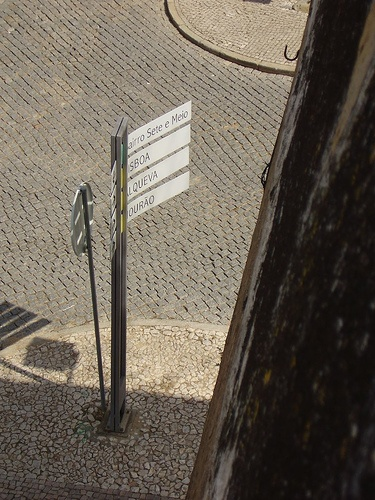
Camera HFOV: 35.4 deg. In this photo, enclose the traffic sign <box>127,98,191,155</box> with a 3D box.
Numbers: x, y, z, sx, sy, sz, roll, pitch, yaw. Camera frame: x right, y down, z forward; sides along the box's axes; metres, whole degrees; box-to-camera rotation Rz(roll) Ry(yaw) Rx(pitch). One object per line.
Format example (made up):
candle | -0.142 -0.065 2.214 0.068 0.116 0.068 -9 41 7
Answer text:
traffic sign | -0.185 -0.798 3.676 0.415 0.360 0.211 -26 48 -33
